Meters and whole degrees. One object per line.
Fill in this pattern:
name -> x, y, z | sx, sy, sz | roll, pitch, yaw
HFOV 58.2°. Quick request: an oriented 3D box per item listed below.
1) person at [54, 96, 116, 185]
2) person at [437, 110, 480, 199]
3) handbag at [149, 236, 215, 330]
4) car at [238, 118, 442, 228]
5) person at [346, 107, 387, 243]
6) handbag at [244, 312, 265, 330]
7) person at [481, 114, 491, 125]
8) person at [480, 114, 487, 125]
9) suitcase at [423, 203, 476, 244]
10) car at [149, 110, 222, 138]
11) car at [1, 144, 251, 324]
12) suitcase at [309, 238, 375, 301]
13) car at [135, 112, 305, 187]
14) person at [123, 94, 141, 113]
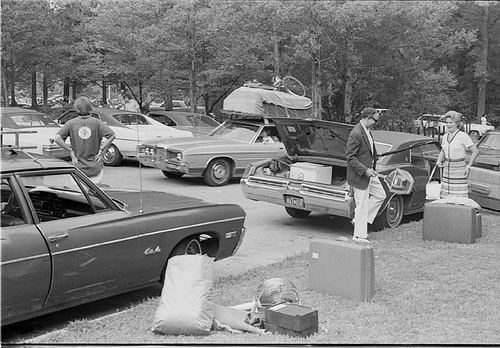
person -> -2.623, -0.533, 7.184 | 0.882, 1.421, 0.461 | -4, 10, -24
person -> 3.931, -0.349, 8.546 | 0.671, 1.683, 0.453 | 3, 9, 20
handbag -> -0.557, 1.360, 5.062 | 0.661, 0.803, 0.809 | 0, -18, 9
car -> 1.672, 0.075, 8.928 | 2.179, 1.072, 3.745 | 14, 16, 41
person -> 1.952, 0.074, 7.683 | 0.612, 2.424, 1.013 | 4, 10, 24
handbag -> 0.047, 1.611, 4.915 | 0.233, 0.125, 0.137 | 7, 11, 38
person -> 6.727, -1.548, 12.790 | 0.226, 0.304, 1.561 | 5, 10, 28
person -> 6.580, -1.525, 12.647 | 0.169, 0.283, 1.165 | 4, 10, 27
suitcase -> 3.829, 0.931, 8.299 | 1.071, 0.604, 1.093 | -2, -2, -13
car -> -2.553, -2.209, 18.538 | 2.816, 0.868, 1.282 | 23, 20, 24
car -> -1.517, 0.468, 5.528 | 2.875, 0.913, 1.642 | -6, 9, -44
suitcase -> 1.171, 1.239, 5.771 | 0.314, 0.682, 0.825 | 4, -5, -40
car -> -0.495, -0.731, 13.893 | 4.721, 1.358, 2.202 | -5, 8, -38
person -> -4.695, -2.815, 17.759 | 0.543, 0.717, 1.449 | -3, 9, -16
